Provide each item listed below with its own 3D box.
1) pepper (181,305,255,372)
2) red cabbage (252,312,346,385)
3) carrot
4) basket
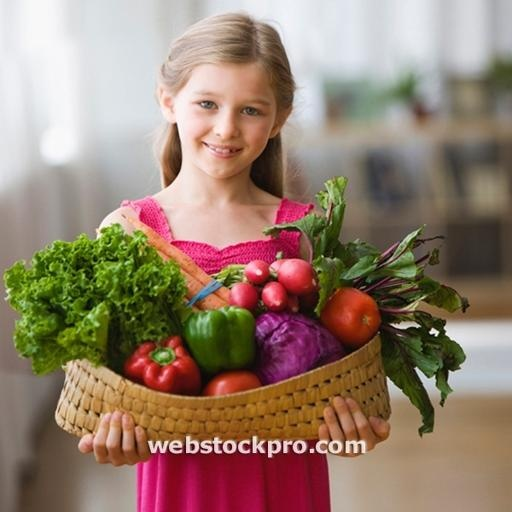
[{"bbox_3d":[-0.065,0.126,0.978,0.114,0.090,0.105,-7,3,-7],"label":"pepper"},{"bbox_3d":[0.047,0.150,1.023,0.110,0.108,0.132,-32,5,-23],"label":"red cabbage"},{"bbox_3d":[-0.112,0.001,1.117,0.222,0.142,0.184,-9,15,-43],"label":"carrot"},{"bbox_3d":[-0.079,0.178,1.100,0.521,0.142,0.499,0,3,-16],"label":"basket"}]
